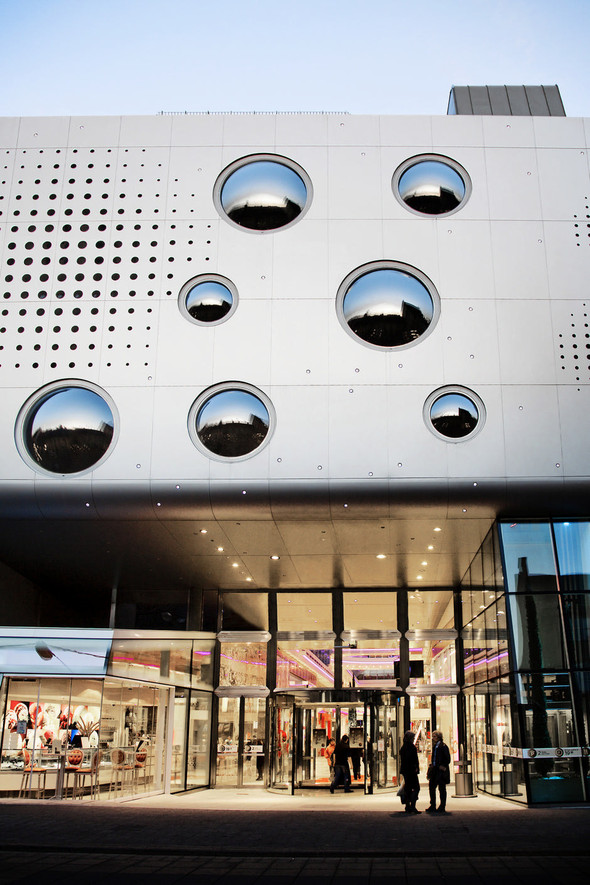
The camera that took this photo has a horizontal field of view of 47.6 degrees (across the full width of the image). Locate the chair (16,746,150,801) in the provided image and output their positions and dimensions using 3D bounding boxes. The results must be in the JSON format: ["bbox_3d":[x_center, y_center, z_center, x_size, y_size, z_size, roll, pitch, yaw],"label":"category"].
[{"bbox_3d":[-4.173,6.932,14.150,1.286,0.994,2.953,-14,-24,31],"label":"chair"}]

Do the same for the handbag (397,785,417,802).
[{"bbox_3d":[1.984,6.168,11.751,0.286,0.373,0.516,-5,-21,11],"label":"handbag"}]

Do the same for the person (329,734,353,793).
[{"bbox_3d":[1.188,8.331,17.465,0.505,1.292,1.113,-2,-20,4],"label":"person"}]

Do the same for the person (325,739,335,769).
[{"bbox_3d":[0.965,8.594,18.546,0.348,0.971,0.281,0,7,8],"label":"person"}]
